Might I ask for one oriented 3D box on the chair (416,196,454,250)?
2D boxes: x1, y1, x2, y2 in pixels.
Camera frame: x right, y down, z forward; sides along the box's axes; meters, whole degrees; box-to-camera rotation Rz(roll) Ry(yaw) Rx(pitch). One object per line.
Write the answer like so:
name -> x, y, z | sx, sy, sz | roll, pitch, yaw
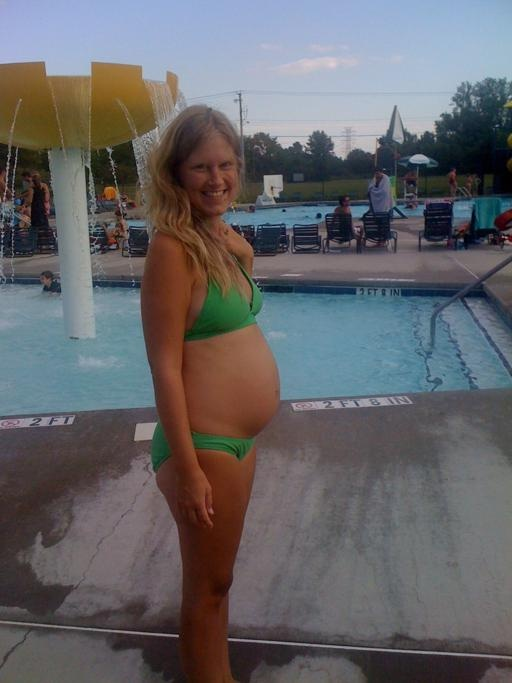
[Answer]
chair -> 4.727, -3.075, 12.966 | 0.718, 1.123, 0.613 | 3, 13, 21
